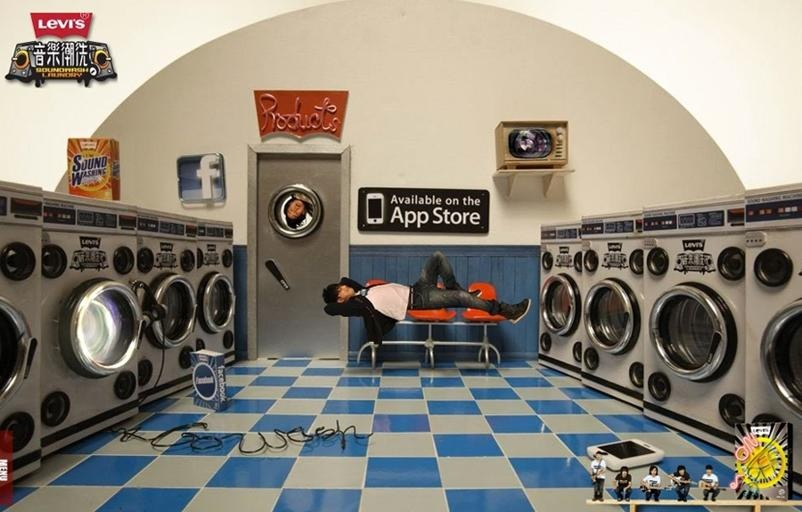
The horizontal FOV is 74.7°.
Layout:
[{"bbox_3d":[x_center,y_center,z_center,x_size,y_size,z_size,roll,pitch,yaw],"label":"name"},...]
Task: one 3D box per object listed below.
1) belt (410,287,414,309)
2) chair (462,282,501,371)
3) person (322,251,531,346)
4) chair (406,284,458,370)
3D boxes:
[{"bbox_3d":[0.113,0.478,5.941,0.048,0.213,0.076,-1,3,1],"label":"belt"},{"bbox_3d":[0.942,0.766,6.050,0.473,0.885,0.472,0,-2,-8],"label":"chair"},{"bbox_3d":[0.301,0.470,6.017,2.345,1.010,0.963,1,9,4],"label":"person"},{"bbox_3d":[0.187,0.860,6.280,0.668,0.882,0.651,1,-21,-2],"label":"chair"}]
